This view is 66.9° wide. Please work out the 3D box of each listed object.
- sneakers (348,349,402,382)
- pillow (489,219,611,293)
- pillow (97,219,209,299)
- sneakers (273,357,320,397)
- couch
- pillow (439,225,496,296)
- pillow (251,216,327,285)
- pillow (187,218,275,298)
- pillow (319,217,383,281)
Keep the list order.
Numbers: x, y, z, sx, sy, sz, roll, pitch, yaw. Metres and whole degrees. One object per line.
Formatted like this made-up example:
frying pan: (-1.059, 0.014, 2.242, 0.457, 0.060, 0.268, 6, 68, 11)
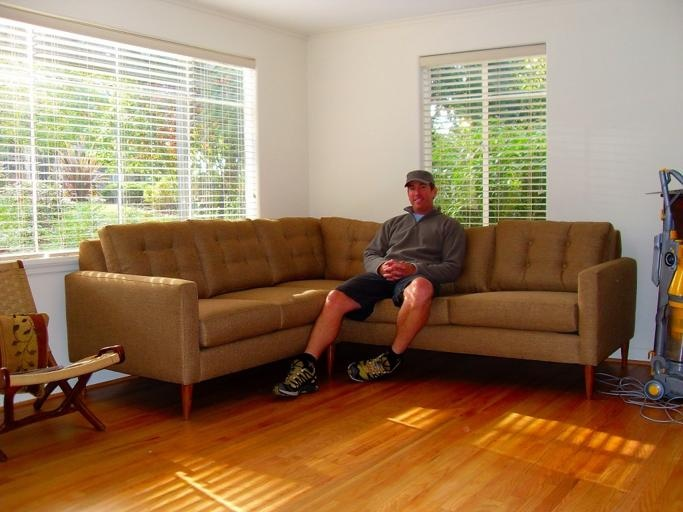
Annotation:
sneakers: (0.132, 0.751, 3.482, 0.516, 0.128, 0.194, -9, -4, -10)
pillow: (1.439, -0.014, 3.665, 0.869, 0.483, 0.208, -1, -21, 31)
pillow: (-1.253, -0.036, 3.416, 0.688, 0.538, 0.211, -7, -24, -42)
sneakers: (-0.288, 0.751, 3.250, 0.323, 0.237, 0.159, -5, 6, -43)
couch: (0.159, 0.256, 3.304, 2.298, 0.710, 1.999, 0, 2, 40)
pillow: (0.974, 0.028, 3.811, 0.596, 0.427, 0.239, -1, 3, -17)
pillow: (-0.517, -0.045, 4.350, 0.667, 0.495, 0.226, -9, -7, -39)
pillow: (-0.882, -0.004, 3.860, 0.632, 0.516, 0.202, -6, -20, -43)
pillow: (0.072, -0.058, 4.348, 0.604, 0.447, 0.167, -1, -7, 26)
